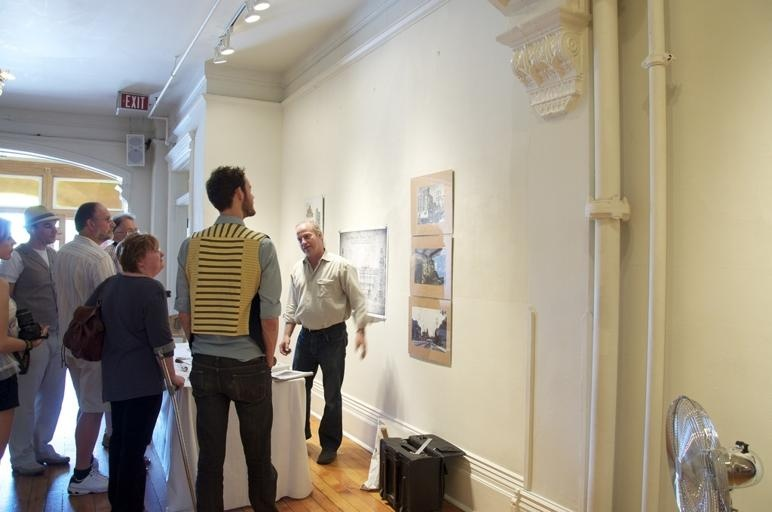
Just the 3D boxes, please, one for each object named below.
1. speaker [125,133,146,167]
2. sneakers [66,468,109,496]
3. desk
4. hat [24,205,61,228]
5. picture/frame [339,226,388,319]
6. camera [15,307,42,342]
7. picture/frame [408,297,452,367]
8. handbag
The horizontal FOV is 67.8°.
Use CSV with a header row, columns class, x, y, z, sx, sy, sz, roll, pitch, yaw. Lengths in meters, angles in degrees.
class,x,y,z,sx,sy,sz,roll,pitch,yaw
speaker,-4.495,-1.910,10.315,0.314,0.570,0.326,0,1,-23
sneakers,-2.499,1.909,4.902,0.406,0.206,0.149,1,2,-31
desk,-1.170,1.525,4.625,0.790,0.752,1.336,-2,-2,-26
hat,-3.164,-0.365,5.274,0.232,0.103,0.206,-21,7,2
picture/frame,-0.213,0.189,5.707,0.106,1.071,0.850,4,-6,-43
camera,-2.942,0.536,4.785,0.205,0.269,0.259,-12,13,-34
picture/frame,0.398,0.665,5.054,0.029,0.689,0.609,2,-2,-36
handbag,-2.230,0.472,4.329,0.359,0.562,0.275,16,5,39
